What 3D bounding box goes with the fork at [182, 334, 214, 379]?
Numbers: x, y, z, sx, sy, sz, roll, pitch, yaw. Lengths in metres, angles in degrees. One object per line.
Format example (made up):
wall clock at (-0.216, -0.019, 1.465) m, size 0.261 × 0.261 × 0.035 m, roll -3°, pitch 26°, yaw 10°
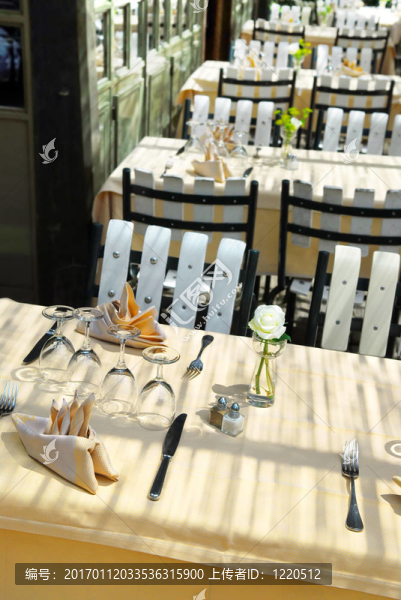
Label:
fork at (-0.009, 0.177, 1.470) m, size 0.040 × 0.033 × 0.245 m, roll 12°, pitch 25°, yaw 8°
